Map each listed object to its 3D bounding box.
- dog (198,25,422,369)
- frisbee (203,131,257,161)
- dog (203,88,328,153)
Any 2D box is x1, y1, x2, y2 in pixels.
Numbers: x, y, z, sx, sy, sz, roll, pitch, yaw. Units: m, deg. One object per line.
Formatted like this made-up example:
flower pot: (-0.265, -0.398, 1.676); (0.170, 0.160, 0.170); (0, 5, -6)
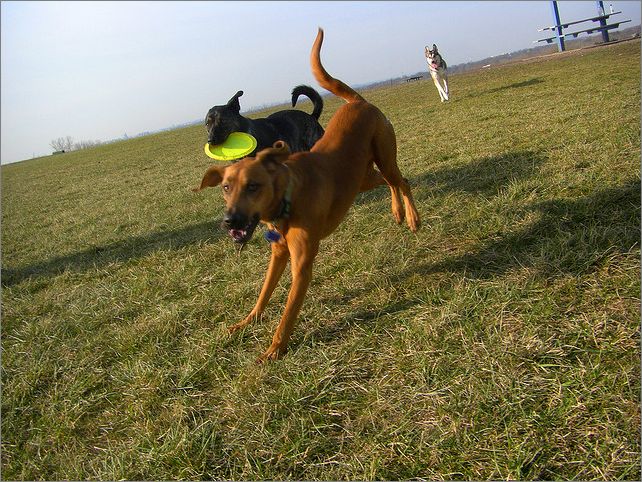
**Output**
dog: (-0.022, -0.235, 3.918); (0.640, 1.598, 2.062); (-1, 22, 46)
frisbee: (-1.112, -1.134, 5.650); (0.553, 0.070, 0.610); (-18, 38, 3)
dog: (-0.678, -1.640, 6.608); (2.015, 1.165, 0.592); (-22, 17, -34)
